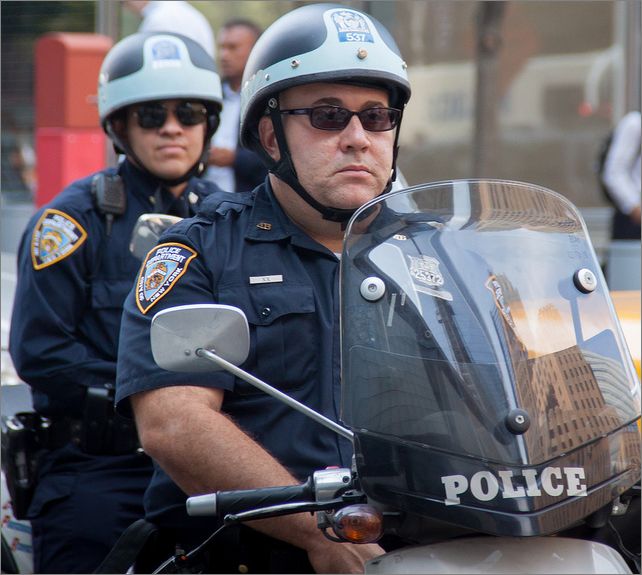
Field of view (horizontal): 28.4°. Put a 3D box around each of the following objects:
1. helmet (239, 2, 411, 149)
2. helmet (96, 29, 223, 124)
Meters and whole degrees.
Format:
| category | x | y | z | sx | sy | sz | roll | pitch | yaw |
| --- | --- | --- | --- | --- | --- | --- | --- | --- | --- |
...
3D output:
| category | x | y | z | sx | sy | sz | roll | pitch | yaw |
| --- | --- | --- | --- | --- | --- | --- | --- | --- | --- |
| helmet | -0.029 | -0.678 | 4.147 | 0.418 | 0.251 | 0.426 | 0 | -4 | -28 |
| helmet | -0.612 | -0.825 | 5.076 | 0.515 | 0.350 | 0.528 | -7 | 1 | 13 |
